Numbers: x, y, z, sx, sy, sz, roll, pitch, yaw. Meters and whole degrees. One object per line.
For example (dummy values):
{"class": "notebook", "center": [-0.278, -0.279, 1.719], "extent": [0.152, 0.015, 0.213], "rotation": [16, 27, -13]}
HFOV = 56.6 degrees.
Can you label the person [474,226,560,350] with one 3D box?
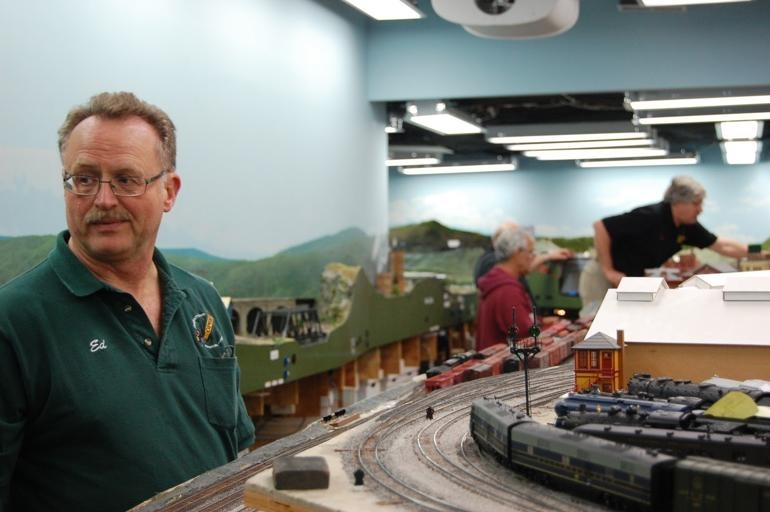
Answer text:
{"class": "person", "center": [2.081, 0.426, 10.989], "extent": [0.727, 2.641, 1.369], "rotation": [-7, 14, -19]}
